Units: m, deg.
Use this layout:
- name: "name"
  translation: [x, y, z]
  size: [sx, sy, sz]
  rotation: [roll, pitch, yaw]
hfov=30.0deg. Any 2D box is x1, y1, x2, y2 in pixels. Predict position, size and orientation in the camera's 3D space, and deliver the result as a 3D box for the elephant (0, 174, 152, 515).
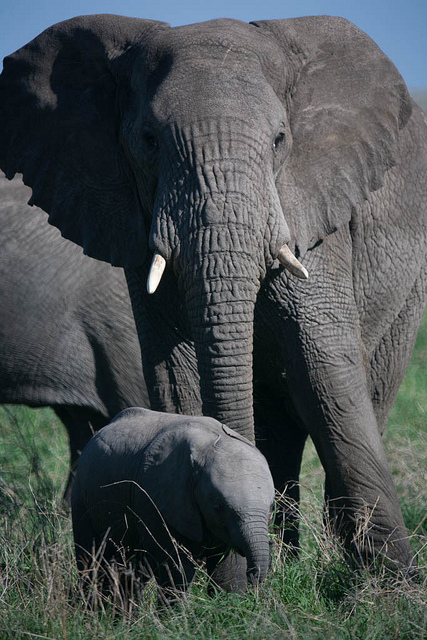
- name: "elephant"
  translation: [-0.828, 0.025, 5.158]
  size: [1.223, 2.062, 0.999]
  rotation: [-3, 1, -22]
